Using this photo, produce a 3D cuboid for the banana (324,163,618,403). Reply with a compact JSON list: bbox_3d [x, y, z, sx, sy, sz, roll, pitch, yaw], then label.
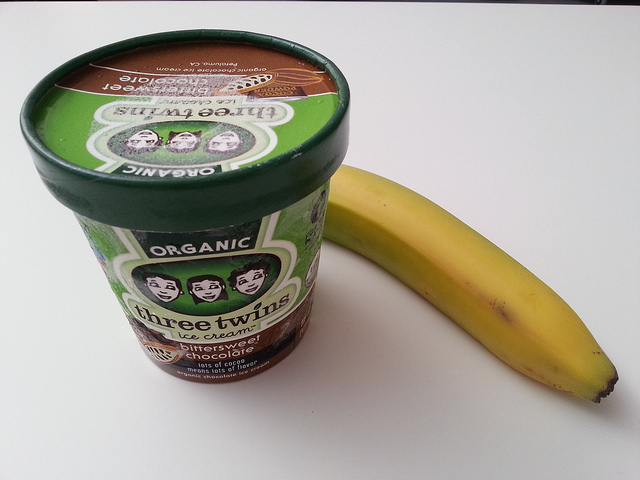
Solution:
[{"bbox_3d":[0.307,0.038,1.125,0.787,0.169,0.158,31,46,24],"label":"banana"}]
